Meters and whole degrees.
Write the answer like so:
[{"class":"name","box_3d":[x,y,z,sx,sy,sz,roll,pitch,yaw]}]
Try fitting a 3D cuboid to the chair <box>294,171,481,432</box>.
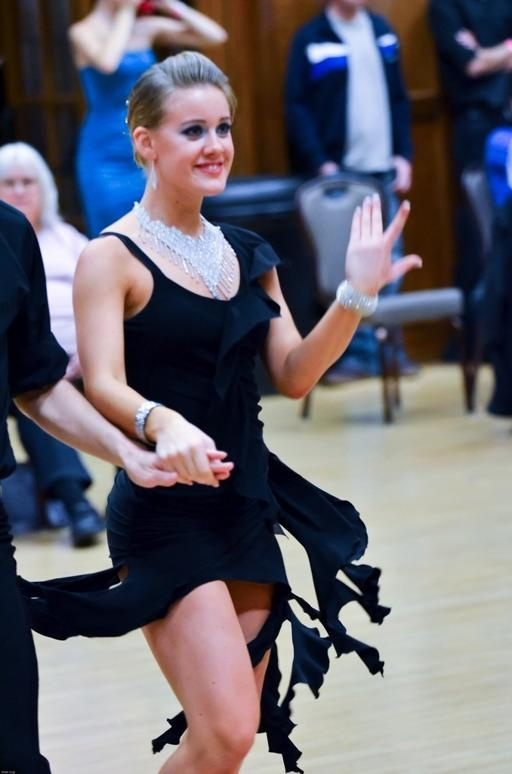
[{"class":"chair","box_3d":[0.780,-0.436,4.679,0.840,1.135,0.744,-5,2,31]}]
